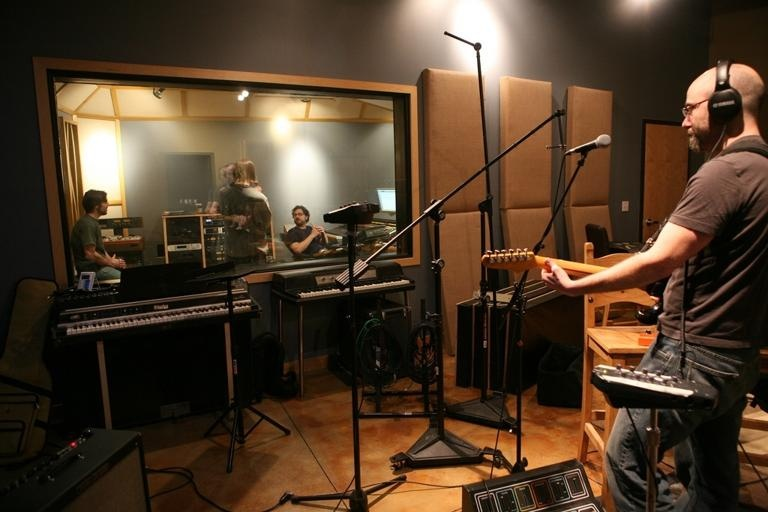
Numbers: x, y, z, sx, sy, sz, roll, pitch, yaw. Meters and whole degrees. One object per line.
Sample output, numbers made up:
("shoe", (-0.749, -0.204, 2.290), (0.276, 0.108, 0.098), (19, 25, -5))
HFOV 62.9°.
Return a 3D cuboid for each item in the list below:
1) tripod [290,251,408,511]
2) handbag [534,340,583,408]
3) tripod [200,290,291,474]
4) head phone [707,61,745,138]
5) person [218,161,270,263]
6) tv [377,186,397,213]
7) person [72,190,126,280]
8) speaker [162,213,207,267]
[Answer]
("tripod", (-0.226, 0.783, 4.561), (0.763, 1.781, 1.148), (0, 9, 13))
("handbag", (1.509, 1.048, 5.535), (0.509, 0.482, 0.484), (-4, -5, 16))
("tripod", (-1.042, 0.873, 4.831), (0.672, 1.354, 0.607), (-9, 19, -27))
("head phone", (1.883, -0.868, 3.467), (0.170, 0.440, 0.163), (3, 11, 29))
("person", (-1.388, -0.456, 6.231), (0.501, 0.965, 0.304), (-5, 10, -19))
("tv", (0.031, -0.586, 6.489), (0.060, 0.225, 0.248), (-12, 2, -43))
("person", (-2.446, -0.171, 5.307), (0.312, 0.773, 0.564), (0, 9, 11))
("speaker", (-1.905, -0.143, 5.947), (0.502, 0.657, 0.360), (-1, 3, -16))
